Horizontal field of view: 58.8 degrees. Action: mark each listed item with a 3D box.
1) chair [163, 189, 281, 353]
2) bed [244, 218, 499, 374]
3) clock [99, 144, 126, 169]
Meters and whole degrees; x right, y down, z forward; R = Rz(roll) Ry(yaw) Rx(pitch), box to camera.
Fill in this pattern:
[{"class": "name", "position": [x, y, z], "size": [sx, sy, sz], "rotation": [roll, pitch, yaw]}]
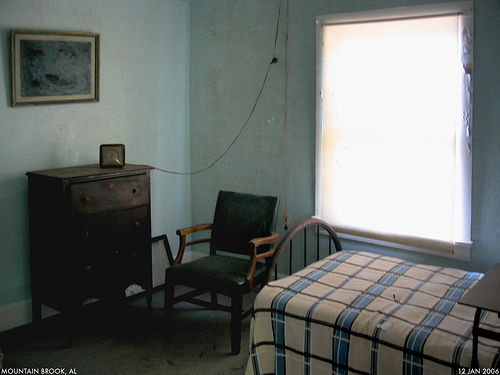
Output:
[{"class": "chair", "position": [-0.215, 0.714, 3.966], "size": [0.995, 1.276, 0.925], "rotation": [3, 2, -35]}, {"class": "bed", "position": [1.058, 0.949, 3.505], "size": [1.813, 0.983, 1.586], "rotation": [6, 9, 32]}, {"class": "clock", "position": [-1.223, -0.282, 4.009], "size": [0.254, 0.271, 0.190], "rotation": [0, 4, -10]}]
